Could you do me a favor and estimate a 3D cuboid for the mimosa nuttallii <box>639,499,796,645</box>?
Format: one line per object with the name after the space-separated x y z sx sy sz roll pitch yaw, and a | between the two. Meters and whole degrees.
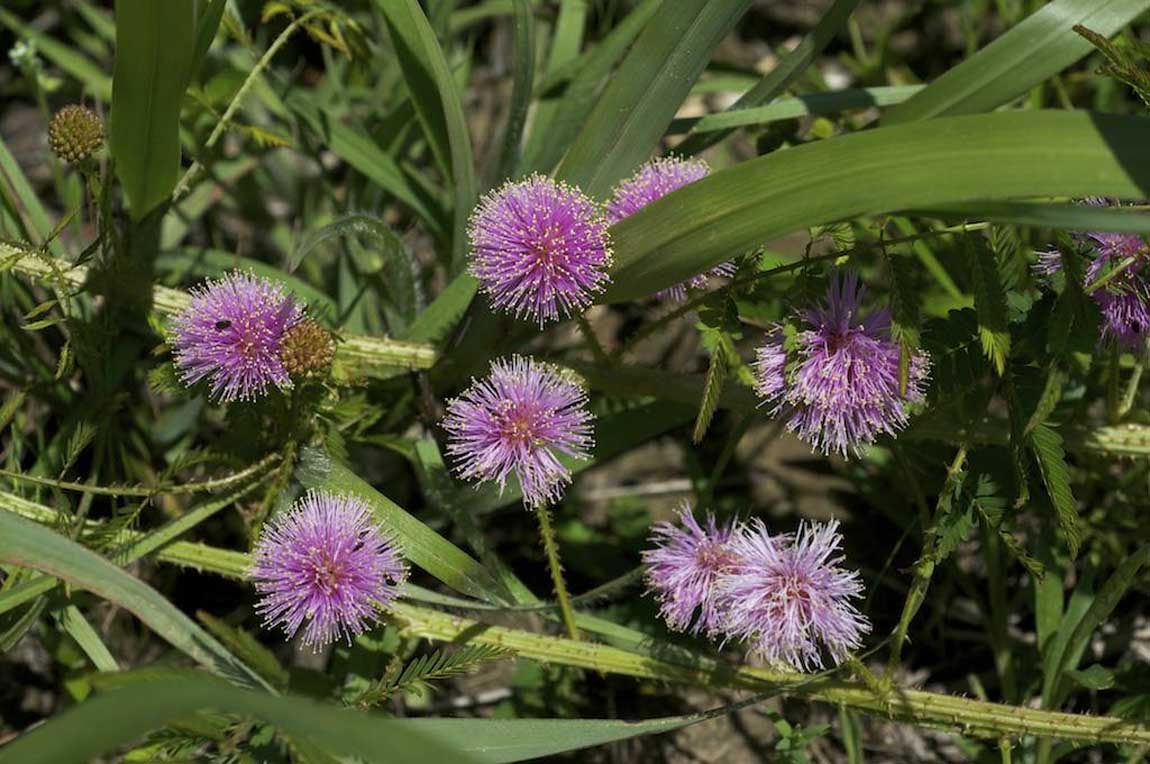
0.223 0.365 2.323 0.239 0.140 0.278 -8 101 -18 | mimosa nuttallii

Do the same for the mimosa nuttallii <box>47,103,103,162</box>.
-0.993 -0.472 2.292 0.105 0.107 0.122 5 89 -28 | mimosa nuttallii

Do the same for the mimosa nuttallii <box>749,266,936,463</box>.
0.508 -0.009 2.233 0.324 0.212 0.369 -12 90 11 | mimosa nuttallii

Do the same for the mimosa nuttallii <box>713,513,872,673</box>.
0.414 0.393 2.198 0.212 0.102 0.233 -5 79 39 | mimosa nuttallii

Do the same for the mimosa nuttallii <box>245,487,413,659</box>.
-0.478 0.365 2.227 0.279 0.212 0.254 -18 59 -15 | mimosa nuttallii

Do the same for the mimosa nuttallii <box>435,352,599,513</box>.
-0.108 0.112 2.246 0.272 0.239 0.253 -35 64 -24 | mimosa nuttallii
